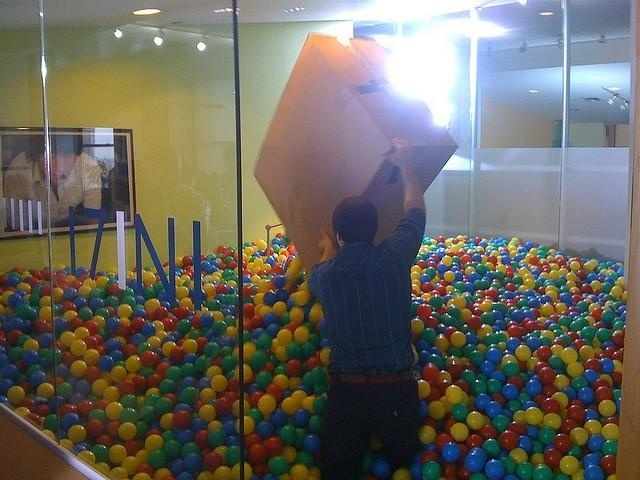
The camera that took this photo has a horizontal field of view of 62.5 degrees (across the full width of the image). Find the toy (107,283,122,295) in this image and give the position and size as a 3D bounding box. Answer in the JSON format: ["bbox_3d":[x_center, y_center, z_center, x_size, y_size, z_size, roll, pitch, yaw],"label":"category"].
[{"bbox_3d":[-0.879,0.211,2.249,0.053,0.060,0.063,9,-3,-30],"label":"toy"}]

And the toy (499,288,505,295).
[{"bbox_3d":[1.151,0.324,3.354,0.043,0.017,0.040,-34,3,1],"label":"toy"}]

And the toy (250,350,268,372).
[{"bbox_3d":[-0.273,0.531,2.306,0.051,0.061,0.075,-2,6,-2],"label":"toy"}]

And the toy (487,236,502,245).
[{"bbox_3d":[1.559,0.005,4.690,0.092,0.034,0.101,-9,14,2],"label":"toy"}]

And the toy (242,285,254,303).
[{"bbox_3d":[-0.368,0.272,2.691,0.073,0.102,0.080,-2,5,-15],"label":"toy"}]

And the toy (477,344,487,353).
[{"bbox_3d":[0.791,0.532,2.585,0.034,0.047,0.036,-1,5,11],"label":"toy"}]

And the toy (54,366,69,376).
[{"bbox_3d":[-1.191,0.602,2.429,0.051,0.068,0.052,-1,-3,44],"label":"toy"}]

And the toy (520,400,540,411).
[{"bbox_3d":[0.941,0.746,2.383,0.039,0.046,0.049,11,-22,5],"label":"toy"}]

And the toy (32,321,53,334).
[{"bbox_3d":[-1.365,0.430,2.598,0.057,0.064,0.074,5,14,-10],"label":"toy"}]

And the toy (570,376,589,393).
[{"bbox_3d":[1.215,0.673,2.474,0.053,0.073,0.059,4,13,11],"label":"toy"}]

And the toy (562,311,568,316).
[{"bbox_3d":[1.434,0.430,3.095,0.021,0.025,0.020,0,16,-25],"label":"toy"}]

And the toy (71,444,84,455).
[{"bbox_3d":[-1.055,0.908,2.299,0.046,0.040,0.049,-9,-13,18],"label":"toy"}]

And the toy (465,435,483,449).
[{"bbox_3d":[0.649,0.851,2.230,0.046,0.066,0.050,9,-4,3],"label":"toy"}]

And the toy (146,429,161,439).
[{"bbox_3d":[-0.684,0.792,2.167,0.036,0.050,0.041,11,31,8],"label":"toy"}]

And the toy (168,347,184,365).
[{"bbox_3d":[-0.585,0.468,2.144,0.050,0.068,0.056,7,36,7],"label":"toy"}]

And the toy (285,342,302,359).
[{"bbox_3d":[-0.119,0.497,2.385,0.055,0.075,0.060,0,-1,-10],"label":"toy"}]

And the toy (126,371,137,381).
[{"bbox_3d":[-0.812,0.582,2.263,0.037,0.035,0.035,-21,32,16],"label":"toy"}]

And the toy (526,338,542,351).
[{"bbox_3d":[1.075,0.520,2.654,0.052,0.070,0.056,-1,3,-11],"label":"toy"}]

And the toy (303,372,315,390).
[{"bbox_3d":[-0.053,0.621,2.323,0.060,0.083,0.064,1,7,10],"label":"toy"}]

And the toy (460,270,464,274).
[{"bbox_3d":[0.954,0.211,3.548,0.019,0.023,0.023,3,36,-7],"label":"toy"}]

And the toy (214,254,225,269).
[{"bbox_3d":[-0.360,0.079,1.873,0.034,0.039,0.037,6,7,23],"label":"toy"}]

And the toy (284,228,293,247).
[{"bbox_3d":[-0.182,-0.015,2.983,0.036,0.045,0.144,-9,45,-12],"label":"toy"}]

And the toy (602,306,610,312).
[{"bbox_3d":[1.675,0.407,3.089,0.023,0.036,0.032,6,8,-24],"label":"toy"}]

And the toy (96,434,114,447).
[{"bbox_3d":[-0.901,0.842,2.209,0.042,0.058,0.046,4,11,16],"label":"toy"}]

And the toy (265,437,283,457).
[{"bbox_3d":[-0.192,0.842,2.140,0.076,0.064,0.038,-1,5,-6],"label":"toy"}]

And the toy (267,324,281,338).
[{"bbox_3d":[-0.214,0.417,2.454,0.047,0.065,0.052,1,12,-15],"label":"toy"}]

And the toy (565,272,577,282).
[{"bbox_3d":[1.776,0.263,3.751,0.049,0.066,0.053,0,-13,-16],"label":"toy"}]

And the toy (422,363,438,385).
[{"bbox_3d":[0.493,0.598,2.361,0.064,0.091,0.069,-2,3,-11],"label":"toy"}]

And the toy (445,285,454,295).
[{"bbox_3d":[0.763,0.296,3.123,0.042,0.056,0.044,-3,6,-26],"label":"toy"}]

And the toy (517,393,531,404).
[{"bbox_3d":[0.934,0.722,2.418,0.038,0.054,0.043,0,-5,-8],"label":"toy"}]

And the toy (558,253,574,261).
[{"bbox_3d":[1.947,0.137,4.187,0.099,0.035,0.106,16,15,9],"label":"toy"}]

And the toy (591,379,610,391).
[{"bbox_3d":[1.307,0.671,2.463,0.047,0.055,0.062,11,-32,3],"label":"toy"}]

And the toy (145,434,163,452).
[{"bbox_3d":[-0.679,0.826,2.146,0.056,0.075,0.062,2,29,8],"label":"toy"}]

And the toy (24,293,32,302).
[{"bbox_3d":[-1.491,0.298,2.689,0.043,0.047,0.044,-1,5,-35],"label":"toy"}]

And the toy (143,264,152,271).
[{"bbox_3d":[-0.680,0.110,2.073,0.034,0.019,0.015,5,13,36],"label":"toy"}]

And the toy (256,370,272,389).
[{"bbox_3d":[-0.244,0.604,2.310,0.056,0.080,0.062,1,5,13],"label":"toy"}]

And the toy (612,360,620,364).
[{"bbox_3d":[1.468,0.602,2.606,0.021,0.006,0.022,-8,34,15],"label":"toy"}]

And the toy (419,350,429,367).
[{"bbox_3d":[0.478,0.545,2.443,0.048,0.065,0.051,0,-2,-20],"label":"toy"}]

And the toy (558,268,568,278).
[{"bbox_3d":[1.764,0.238,3.833,0.051,0.068,0.053,5,-13,-24],"label":"toy"}]

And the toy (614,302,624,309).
[{"bbox_3d":[1.778,0.391,3.129,0.047,0.039,0.038,-5,33,-22],"label":"toy"}]

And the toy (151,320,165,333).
[{"bbox_3d":[-0.657,0.348,2.144,0.045,0.063,0.049,0,7,18],"label":"toy"}]

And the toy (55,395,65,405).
[{"bbox_3d":[-1.190,0.731,2.412,0.039,0.054,0.042,-1,-3,-27],"label":"toy"}]

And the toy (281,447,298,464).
[{"bbox_3d":[-0.126,0.875,2.151,0.055,0.077,0.059,-7,12,-21],"label":"toy"}]

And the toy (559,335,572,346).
[{"bbox_3d":[1.255,0.510,2.707,0.047,0.058,0.066,-1,-2,-18],"label":"toy"}]

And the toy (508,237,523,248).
[{"bbox_3d":[1.697,0.019,4.599,0.040,0.121,0.111,22,19,28],"label":"toy"}]

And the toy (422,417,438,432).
[{"bbox_3d":[0.466,0.792,2.260,0.050,0.068,0.051,-4,1,-32],"label":"toy"}]

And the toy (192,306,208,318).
[{"bbox_3d":[-0.446,0.282,1.960,0.045,0.050,0.024,18,37,8],"label":"toy"}]

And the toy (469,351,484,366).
[{"bbox_3d":[0.753,0.571,2.544,0.057,0.078,0.062,-1,1,-5],"label":"toy"}]

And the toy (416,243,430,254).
[{"bbox_3d":[0.665,0.056,3.406,0.072,0.024,0.079,-40,5,33],"label":"toy"}]

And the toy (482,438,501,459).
[{"bbox_3d":[0.720,0.876,2.215,0.064,0.090,0.070,-10,4,17],"label":"toy"}]

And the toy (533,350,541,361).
[{"bbox_3d":[1.069,0.569,2.608,0.034,0.047,0.036,1,0,-17],"label":"toy"}]

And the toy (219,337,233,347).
[{"bbox_3d":[-0.339,0.365,1.898,0.027,0.035,0.027,-16,32,-35],"label":"toy"}]

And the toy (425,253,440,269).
[{"bbox_3d":[0.776,0.154,3.616,0.061,0.073,0.090,0,4,5],"label":"toy"}]

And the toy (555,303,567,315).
[{"bbox_3d":[1.447,0.410,3.180,0.059,0.068,0.071,-4,-27,46],"label":"toy"}]

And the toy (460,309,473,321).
[{"bbox_3d":[0.761,0.390,2.753,0.050,0.068,0.053,0,-1,-19],"label":"toy"}]

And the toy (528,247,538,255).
[{"bbox_3d":[1.746,0.097,4.337,0.056,0.080,0.062,2,-20,1],"label":"toy"}]

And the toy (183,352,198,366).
[{"bbox_3d":[-0.513,0.466,2.094,0.053,0.072,0.055,6,-12,-11],"label":"toy"}]
